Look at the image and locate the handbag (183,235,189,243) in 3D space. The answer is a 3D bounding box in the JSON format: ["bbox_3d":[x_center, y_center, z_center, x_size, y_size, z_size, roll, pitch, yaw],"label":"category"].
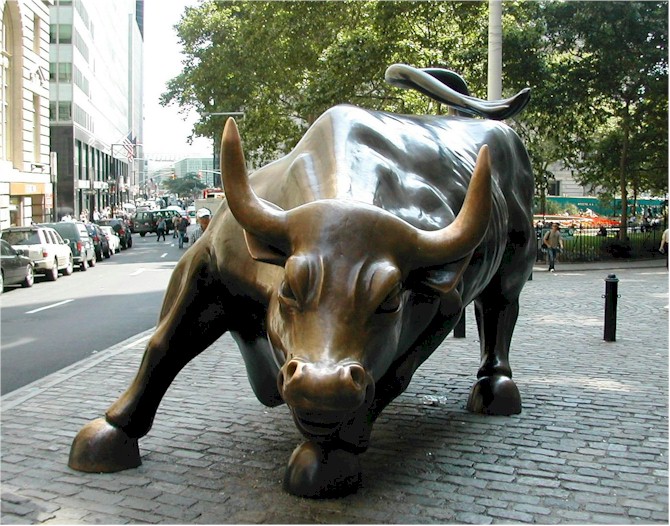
[{"bbox_3d":[-9.073,-1.559,42.341,0.357,0.542,0.725,-2,-5,1],"label":"handbag"}]

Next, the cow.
[{"bbox_3d":[0.332,-0.239,5.933,2.171,3.203,4.652,6,8,25],"label":"cow"}]

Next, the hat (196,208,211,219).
[{"bbox_3d":[-2.625,-1.002,13.824,0.235,0.171,0.396,3,-4,-16],"label":"hat"}]
